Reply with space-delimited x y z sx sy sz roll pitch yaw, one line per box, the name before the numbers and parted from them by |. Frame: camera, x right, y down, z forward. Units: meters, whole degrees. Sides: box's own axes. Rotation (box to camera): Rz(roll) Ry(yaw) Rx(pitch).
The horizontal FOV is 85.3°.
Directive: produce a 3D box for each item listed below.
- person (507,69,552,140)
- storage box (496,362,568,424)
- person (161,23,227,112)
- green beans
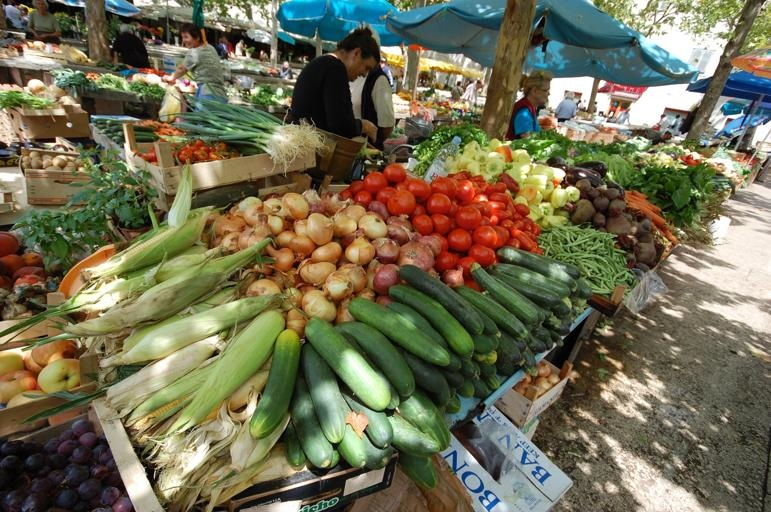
person | 2.590 -2.653 7.465 0.542 1.189 0.768 16 30 13
storage box | 1.717 1.556 5.109 0.922 0.328 0.610 -12 32 -42
person | -3.636 -3.385 8.381 1.274 2.119 0.921 -2 31 -12
green beans | 2.644 -0.001 5.435 1.201 0.412 0.919 36 42 25
